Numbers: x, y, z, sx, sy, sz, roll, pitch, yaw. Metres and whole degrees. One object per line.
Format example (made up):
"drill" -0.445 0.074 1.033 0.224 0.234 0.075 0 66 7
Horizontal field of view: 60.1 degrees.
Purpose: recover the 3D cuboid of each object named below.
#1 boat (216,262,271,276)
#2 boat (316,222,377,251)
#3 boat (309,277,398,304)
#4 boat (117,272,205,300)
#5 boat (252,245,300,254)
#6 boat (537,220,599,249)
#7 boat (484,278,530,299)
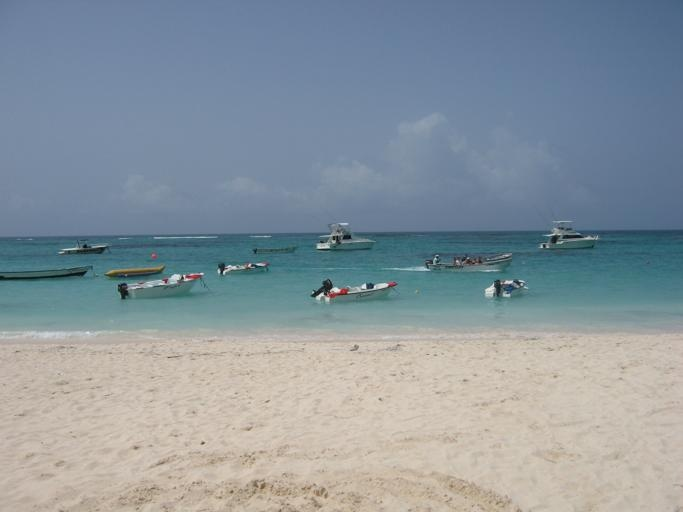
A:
"boat" -7.891 1.192 47.798 3.965 0.926 1.433 -6 20 -20
"boat" -0.238 -2.432 83.513 11.060 3.187 4.240 -2 7 -9
"boat" 1.158 1.969 31.005 5.241 1.131 1.478 -5 6 -16
"boat" -9.798 1.721 33.175 4.870 1.265 1.619 -7 15 -24
"boat" -10.068 -0.699 88.827 4.278 0.887 7.551 -2 1 28
"boat" 31.293 -2.450 81.581 6.310 3.057 5.669 -2 1 17
"boat" 9.152 1.706 32.120 1.125 0.663 3.129 4 7 40
